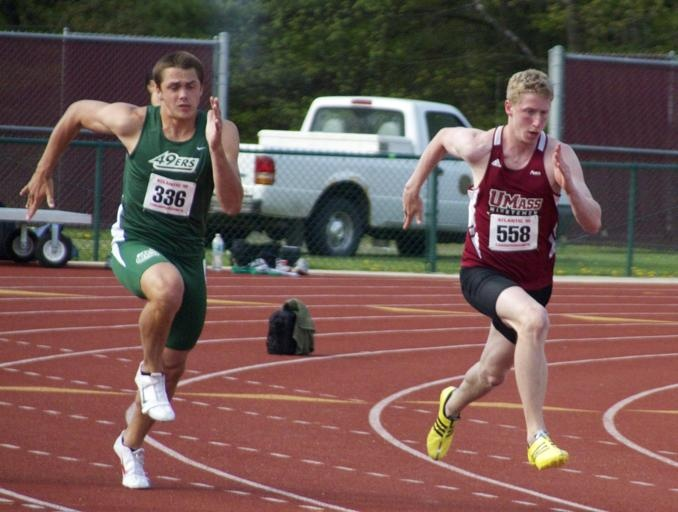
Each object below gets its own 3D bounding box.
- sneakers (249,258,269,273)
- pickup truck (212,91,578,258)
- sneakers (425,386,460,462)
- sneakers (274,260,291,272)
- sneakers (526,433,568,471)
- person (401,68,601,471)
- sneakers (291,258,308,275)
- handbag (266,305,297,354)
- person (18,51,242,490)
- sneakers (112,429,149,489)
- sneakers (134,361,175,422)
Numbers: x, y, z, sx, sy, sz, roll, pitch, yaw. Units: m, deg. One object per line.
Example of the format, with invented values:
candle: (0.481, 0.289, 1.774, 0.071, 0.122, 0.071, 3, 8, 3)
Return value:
sneakers: (-1.219, 0.159, 13.962, 0.223, 0.091, 0.243, 1, 31, -3)
pickup truck: (0.724, -1.411, 15.419, 5.125, 2.118, 2.737, -7, 9, -38)
sneakers: (0.596, 1.033, 5.501, 0.151, 0.452, 0.195, 8, 8, -11)
sneakers: (-0.838, 0.153, 13.896, 0.237, 0.161, 0.148, 1, 2, 28)
sneakers: (1.075, 1.032, 4.737, 0.140, 0.191, 0.201, 0, 7, -12)
person: (0.988, 0.104, 5.249, 0.620, 2.351, 1.356, -3, 8, -34)
sneakers: (-0.584, 0.172, 13.893, 0.220, 0.223, 0.313, 3, 7, 6)
handbag: (-0.512, 0.695, 8.223, 0.254, 0.389, 0.144, 1, 7, -7)
person: (-1.018, 0.043, 5.060, 1.016, 2.310, 0.648, 8, 9, 43)
sneakers: (-1.094, 1.114, 4.933, 0.123, 0.150, 0.359, 6, 41, -44)
sneakers: (-0.951, 0.700, 4.724, 0.157, 0.266, 0.227, -1, 7, -21)
